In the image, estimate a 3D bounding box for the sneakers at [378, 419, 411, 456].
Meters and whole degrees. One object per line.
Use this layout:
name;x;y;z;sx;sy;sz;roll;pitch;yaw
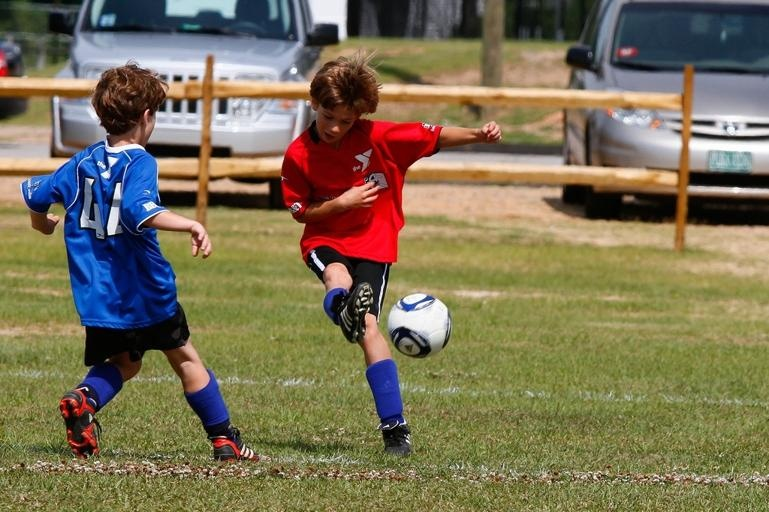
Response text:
sneakers;0.072;1.083;8.590;0.158;0.180;0.428;-17;15;5

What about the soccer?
soccer;0.216;0.440;8.927;0.310;0.295;0.297;-25;24;16

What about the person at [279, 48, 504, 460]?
person;-0.061;-0.043;8.660;1.133;2.296;0.859;1;10;-4

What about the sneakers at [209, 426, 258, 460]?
sneakers;-0.874;1.120;8.493;0.137;0.206;0.378;-18;-17;26

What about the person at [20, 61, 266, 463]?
person;-1.443;0.024;8.336;1.266;2.232;0.683;0;10;-11
